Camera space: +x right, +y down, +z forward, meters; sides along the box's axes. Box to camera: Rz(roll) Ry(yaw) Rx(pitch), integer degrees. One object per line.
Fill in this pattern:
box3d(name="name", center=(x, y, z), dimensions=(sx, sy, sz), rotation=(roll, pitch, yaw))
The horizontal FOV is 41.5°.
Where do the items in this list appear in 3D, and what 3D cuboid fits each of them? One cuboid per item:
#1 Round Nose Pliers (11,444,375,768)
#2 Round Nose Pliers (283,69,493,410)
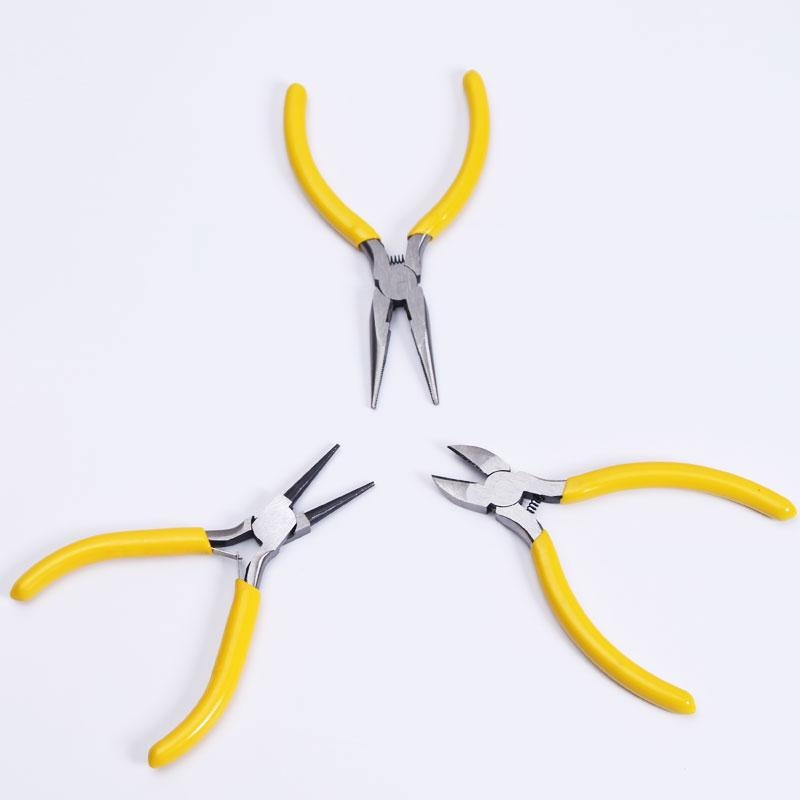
box3d(name="Round Nose Pliers", center=(-0.296, 0.313, 1.590), dimensions=(0.562, 0.386, 0.291), rotation=(-16, -72, 2))
box3d(name="Round Nose Pliers", center=(-0.011, -0.311, 1.923), dimensions=(0.398, 0.481, 0.512), rotation=(-4, -73, -1))
